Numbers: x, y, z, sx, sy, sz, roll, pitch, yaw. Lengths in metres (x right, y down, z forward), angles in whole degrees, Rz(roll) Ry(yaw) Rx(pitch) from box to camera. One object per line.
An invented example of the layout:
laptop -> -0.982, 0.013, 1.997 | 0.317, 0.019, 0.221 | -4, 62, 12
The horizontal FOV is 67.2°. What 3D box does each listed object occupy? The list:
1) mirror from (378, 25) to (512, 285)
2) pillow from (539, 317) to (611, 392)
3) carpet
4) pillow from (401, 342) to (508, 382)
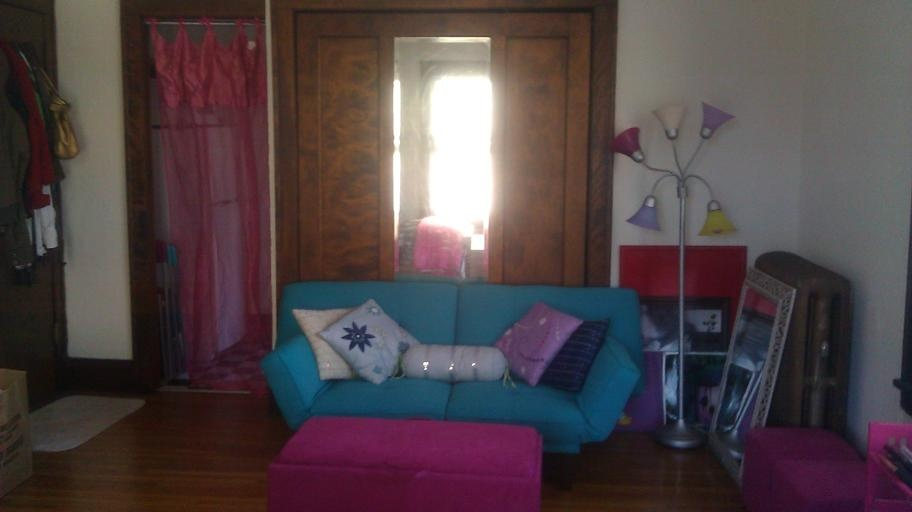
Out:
mirror -> -0.121, -0.864, 6.033 | 0.836, 2.099, 0.428 | 0, 12, -5
pillow -> 0.956, 0.800, 5.458 | 0.537, 0.506, 0.159 | 22, -15, 50
carpet -> -3.283, 1.426, 5.848 | 0.846, 0.141, 0.807 | 3, 10, 14
pillow -> -0.007, 0.847, 5.655 | 0.940, 0.292, 0.314 | 0, 6, 5
